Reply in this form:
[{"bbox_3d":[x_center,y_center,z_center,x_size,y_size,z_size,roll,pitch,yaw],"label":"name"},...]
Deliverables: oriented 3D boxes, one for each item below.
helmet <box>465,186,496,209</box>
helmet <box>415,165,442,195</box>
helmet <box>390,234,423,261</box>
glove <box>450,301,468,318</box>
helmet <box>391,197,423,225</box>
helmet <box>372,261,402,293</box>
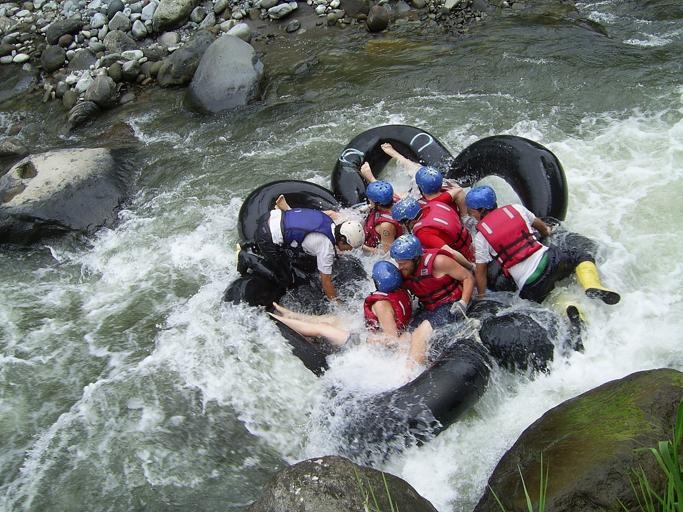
[{"bbox_3d":[1.971,-0.848,7.961,0.407,0.311,0.286,11,78,13],"label":"helmet"},{"bbox_3d":[1.366,-1.186,8.754,0.337,0.268,0.457,2,55,-8],"label":"helmet"},{"bbox_3d":[0.929,-0.088,7.806,0.407,0.330,0.305,15,56,-5],"label":"helmet"},{"bbox_3d":[1.607,0.733,7.698,0.212,0.218,0.220,8,69,16],"label":"glove"},{"bbox_3d":[0.968,-0.686,8.551,0.410,0.317,0.329,-8,39,42],"label":"helmet"},{"bbox_3d":[0.561,0.286,7.895,0.352,0.425,0.453,-25,69,-10],"label":"helmet"}]
